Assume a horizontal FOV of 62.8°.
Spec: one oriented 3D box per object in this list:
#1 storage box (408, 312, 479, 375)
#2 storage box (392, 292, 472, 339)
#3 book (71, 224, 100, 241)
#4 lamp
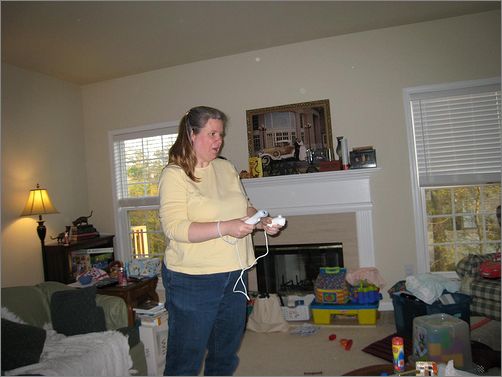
[{"bbox_3d":[1.552,1.213,3.344,0.428,0.348,0.426,1,-2,-16],"label":"storage box"},{"bbox_3d":[1.802,1.247,3.982,0.529,0.377,0.723,-1,-9,-16],"label":"storage box"},{"bbox_3d":[-2.112,0.565,5.180,0.177,0.114,0.239,-3,-3,30],"label":"book"},{"bbox_3d":[-2.535,0.535,4.915,0.389,1.122,0.428,-2,0,-30],"label":"lamp"}]
